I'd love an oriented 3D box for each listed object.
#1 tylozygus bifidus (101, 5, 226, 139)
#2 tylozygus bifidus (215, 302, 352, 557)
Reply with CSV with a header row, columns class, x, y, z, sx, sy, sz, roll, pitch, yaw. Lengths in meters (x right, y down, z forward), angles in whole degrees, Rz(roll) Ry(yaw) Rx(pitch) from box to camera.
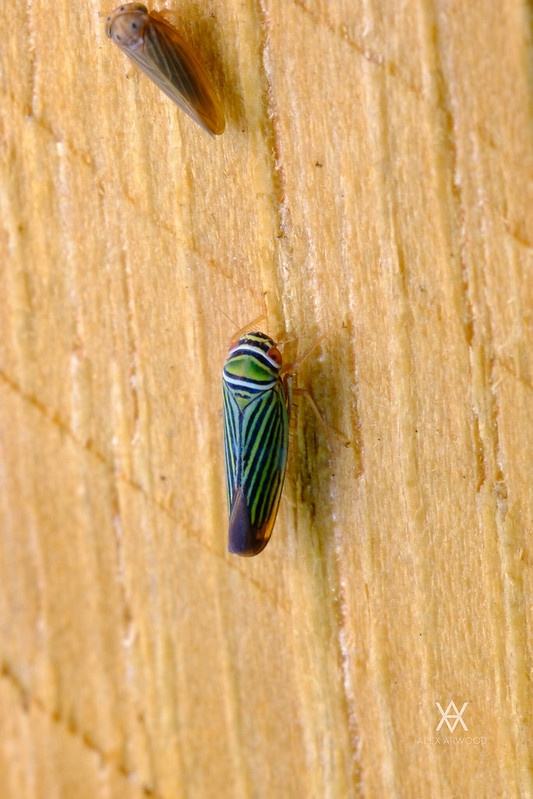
class,x,y,z,sx,sy,sz,roll,pitch,yaw
tylozygus bifidus,-0.165,-0.570,2.186,0.126,0.289,0.093,-32,6,30
tylozygus bifidus,0.015,0.048,2.211,0.088,0.406,0.220,2,-1,-44
